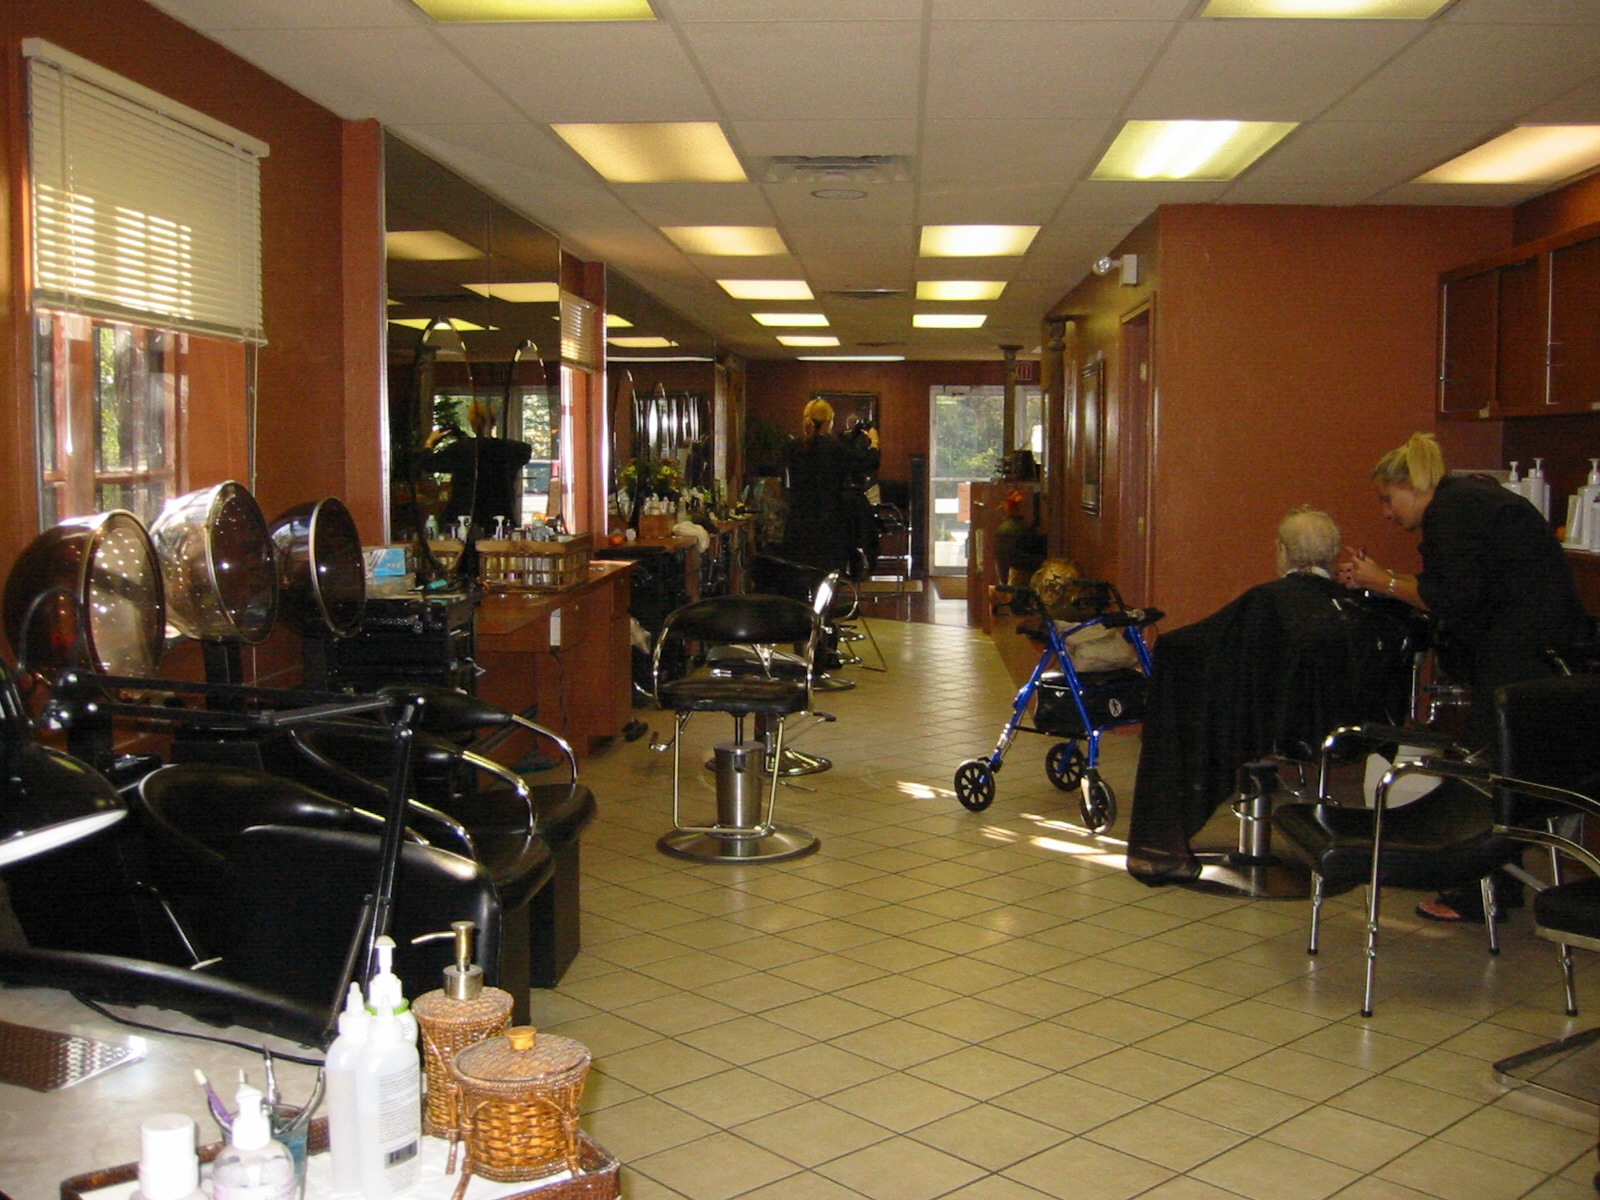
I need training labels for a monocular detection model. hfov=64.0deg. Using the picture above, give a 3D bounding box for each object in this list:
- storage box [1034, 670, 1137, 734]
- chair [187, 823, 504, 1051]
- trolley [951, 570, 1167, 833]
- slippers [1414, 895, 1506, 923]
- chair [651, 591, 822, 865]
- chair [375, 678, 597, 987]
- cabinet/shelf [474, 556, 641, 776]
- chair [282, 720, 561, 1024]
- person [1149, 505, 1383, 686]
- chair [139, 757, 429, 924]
[{"bbox_3d":[1.282,0.385,5.738,0.314,0.180,0.419,1,4,31],"label":"storage box"},{"bbox_3d":[-0.877,0.592,2.446,0.491,0.343,0.451,2,0,-27],"label":"chair"},{"bbox_3d":[1.280,0.431,5.972,0.847,0.983,1.050,-2,1,-30],"label":"trolley"},{"bbox_3d":[2.436,1.117,4.756,0.245,0.074,0.130,2,3,15],"label":"slippers"},{"bbox_3d":[-0.277,0.512,5.714,0.816,1.068,0.811,1,3,37],"label":"chair"},{"bbox_3d":[-1.043,0.747,4.146,0.719,0.850,0.707,0,3,-5],"label":"chair"},{"bbox_3d":[-1.246,0.324,6.383,0.397,0.616,1.217,0,6,1],"label":"cabinet/shelf"},{"bbox_3d":[-0.813,0.658,2.771,0.405,0.402,0.350,4,4,-22],"label":"chair"},{"bbox_3d":[2.074,-0.059,5.681,0.899,0.700,0.454,1,15,-9],"label":"person"},{"bbox_3d":[-1.269,0.612,2.999,0.525,0.407,0.533,4,7,12],"label":"chair"}]
